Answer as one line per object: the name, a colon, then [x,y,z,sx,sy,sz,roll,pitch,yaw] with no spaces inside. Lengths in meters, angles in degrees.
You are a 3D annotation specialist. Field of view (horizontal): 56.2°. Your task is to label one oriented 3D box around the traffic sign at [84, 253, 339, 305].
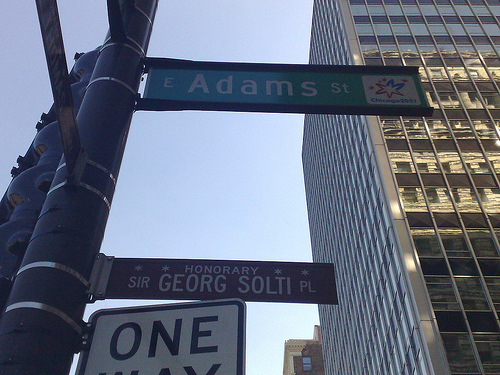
traffic sign: [-0.377,0.882,4.379,1.694,0.452,0.188,2,-52,-2]
